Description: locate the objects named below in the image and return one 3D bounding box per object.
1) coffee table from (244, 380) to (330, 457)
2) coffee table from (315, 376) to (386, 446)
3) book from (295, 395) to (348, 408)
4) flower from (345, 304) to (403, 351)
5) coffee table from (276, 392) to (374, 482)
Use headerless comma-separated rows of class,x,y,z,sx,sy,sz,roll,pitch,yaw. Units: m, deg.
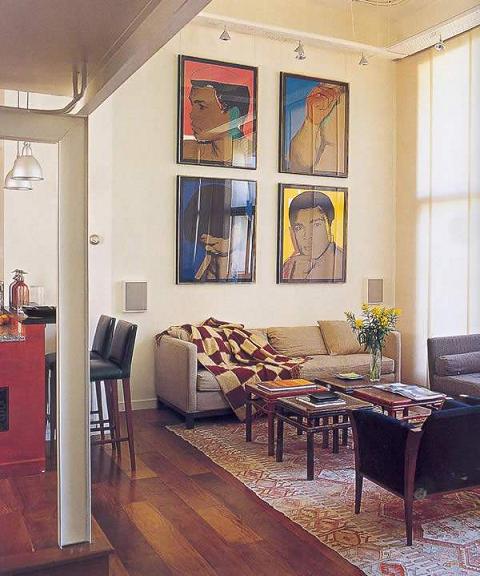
coffee table,0.315,0.904,4.126,0.645,0.514,0.474,0,-1,-31
coffee table,0.866,0.869,4.248,0.642,0.293,0.417,-1,8,-33
book,0.503,0.755,3.544,0.364,0.042,0.237,0,0,33
flower,1.123,0.332,4.447,0.400,0.384,0.379,0,0,25
coffee table,0.541,0.937,3.691,0.592,0.491,0.576,0,-1,-27
